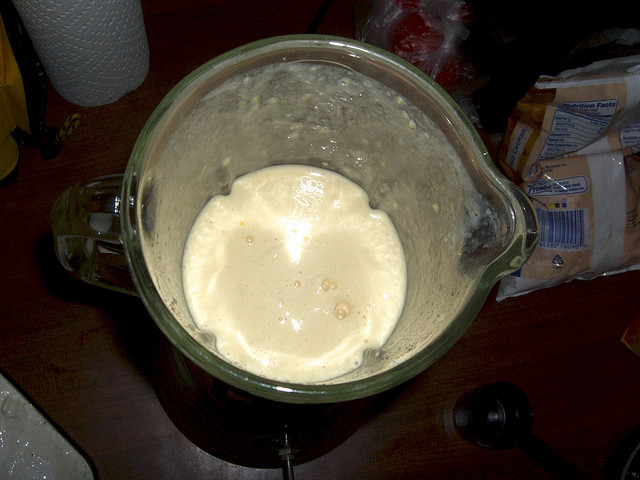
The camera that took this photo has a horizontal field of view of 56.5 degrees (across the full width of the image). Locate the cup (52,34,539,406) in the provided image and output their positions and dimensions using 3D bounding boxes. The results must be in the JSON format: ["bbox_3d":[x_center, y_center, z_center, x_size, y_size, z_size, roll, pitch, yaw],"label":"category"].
[{"bbox_3d":[-0.004,-0.026,0.752,0.469,0.489,0.364,-3,86,-2],"label":"cup"}]
